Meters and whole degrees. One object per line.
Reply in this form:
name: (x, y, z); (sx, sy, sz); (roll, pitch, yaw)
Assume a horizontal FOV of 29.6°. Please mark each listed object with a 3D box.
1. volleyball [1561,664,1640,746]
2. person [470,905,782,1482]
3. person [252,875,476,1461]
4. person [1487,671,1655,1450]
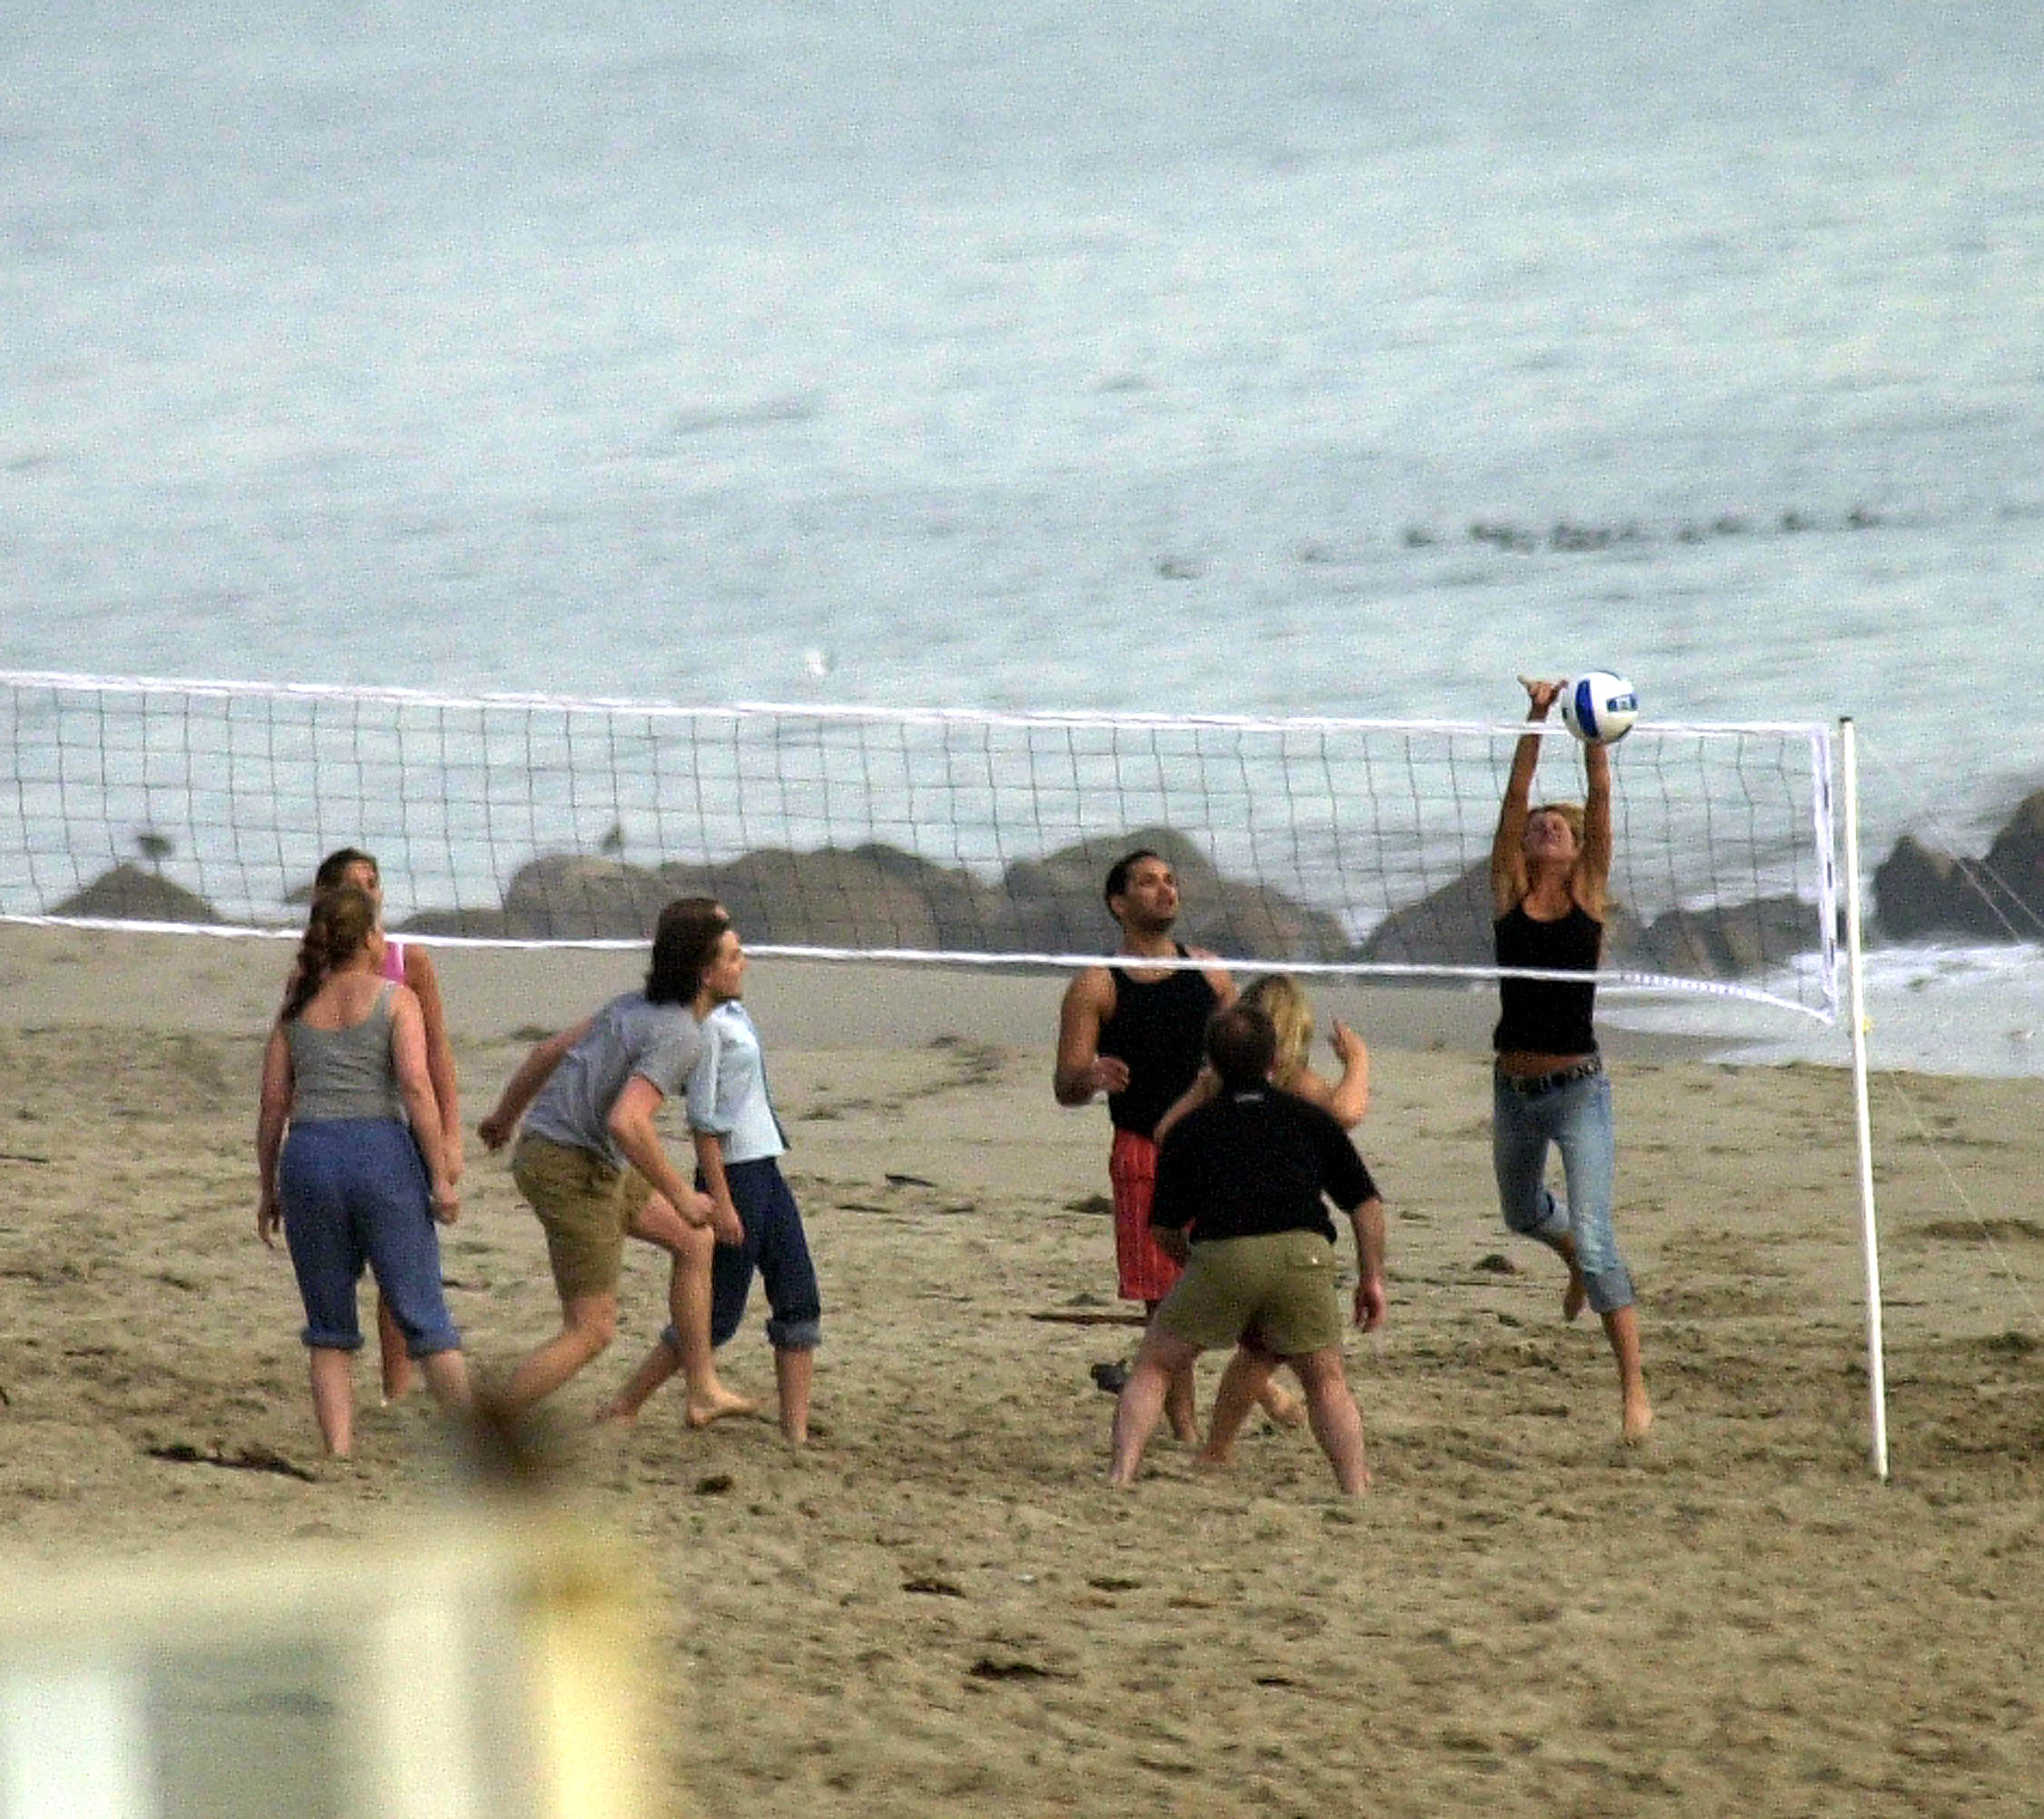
volleyball: (2.916, -1.006, 19.096); (0.390, 0.321, 0.353); (-1, -10, -10)
person: (-1.874, 1.178, 18.322); (1.168, 2.482, 0.661); (-3, 3, -5)
person: (-3.090, 1.043, 17.985); (0.934, 2.373, 0.519); (-3, 3, -3)
person: (2.731, 0.687, 19.261); (0.706, 3.664, 1.304); (-3, 3, 7)
